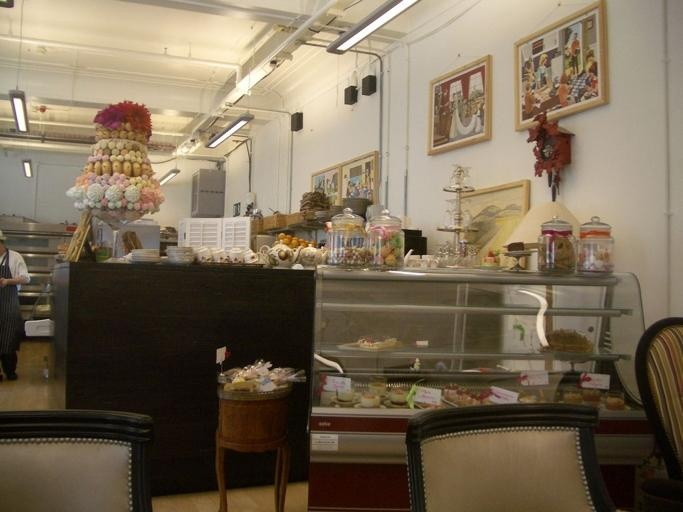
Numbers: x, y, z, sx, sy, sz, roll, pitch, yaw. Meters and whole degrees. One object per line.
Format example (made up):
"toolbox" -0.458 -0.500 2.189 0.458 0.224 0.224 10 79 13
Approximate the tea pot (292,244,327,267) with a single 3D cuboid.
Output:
"tea pot" -0.246 -0.013 4.355 0.200 0.092 0.160 5 5 35

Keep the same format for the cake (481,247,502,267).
"cake" 1.200 0.001 4.615 0.174 0.176 0.157 1 -1 31

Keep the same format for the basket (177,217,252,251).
"basket" -1.767 -0.342 7.997 0.943 0.572 0.595 2 -1 -6

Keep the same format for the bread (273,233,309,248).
"bread" -0.405 -0.121 4.627 0.229 0.079 0.168 11 2 -24

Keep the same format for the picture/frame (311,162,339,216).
"picture/frame" -0.214 -0.930 7.845 0.031 0.512 0.743 -3 3 -35

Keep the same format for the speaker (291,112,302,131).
"speaker" -0.693 -2.059 8.792 0.118 0.285 0.226 0 0 -26

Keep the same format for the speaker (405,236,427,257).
"speaker" 0.761 -0.117 5.943 0.226 0.188 0.186 0 0 4

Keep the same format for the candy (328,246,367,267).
"candy" 0.033 0.006 3.330 0.222 0.113 0.069 0 0 2

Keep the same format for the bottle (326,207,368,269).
"bottle" -0.018 -0.101 3.408 0.276 0.374 0.272 0 -4 0

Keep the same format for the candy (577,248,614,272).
"candy" 1.485 0.021 3.406 0.147 0.110 0.150 1 1 44

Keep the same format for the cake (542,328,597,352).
"cake" 1.313 0.492 3.325 0.186 0.066 0.158 1 -3 -24

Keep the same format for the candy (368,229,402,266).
"candy" 0.275 -0.054 3.407 0.206 0.213 0.207 1 2 11

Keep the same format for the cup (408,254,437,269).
"cup" 0.622 0.043 4.493 0.142 0.071 0.192 1 3 0

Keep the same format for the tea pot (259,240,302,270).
"tea pot" -0.467 -0.006 4.364 0.340 0.185 0.256 0 0 -8

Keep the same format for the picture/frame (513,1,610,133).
"picture/frame" 1.766 -1.498 4.571 0.057 0.996 1.157 4 -7 -27

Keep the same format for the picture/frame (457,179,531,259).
"picture/frame" 1.302 -0.315 4.902 0.055 0.647 0.660 8 3 -27

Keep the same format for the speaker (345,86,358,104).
"speaker" 0.112 -2.022 7.228 0.133 0.238 0.245 -1 2 -19

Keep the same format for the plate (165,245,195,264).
"plate" -1.140 -0.009 4.084 0.132 0.092 0.133 1 -3 -2

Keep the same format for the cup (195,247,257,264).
"cup" -0.844 -0.007 4.206 0.464 0.118 0.207 0 0 -11
